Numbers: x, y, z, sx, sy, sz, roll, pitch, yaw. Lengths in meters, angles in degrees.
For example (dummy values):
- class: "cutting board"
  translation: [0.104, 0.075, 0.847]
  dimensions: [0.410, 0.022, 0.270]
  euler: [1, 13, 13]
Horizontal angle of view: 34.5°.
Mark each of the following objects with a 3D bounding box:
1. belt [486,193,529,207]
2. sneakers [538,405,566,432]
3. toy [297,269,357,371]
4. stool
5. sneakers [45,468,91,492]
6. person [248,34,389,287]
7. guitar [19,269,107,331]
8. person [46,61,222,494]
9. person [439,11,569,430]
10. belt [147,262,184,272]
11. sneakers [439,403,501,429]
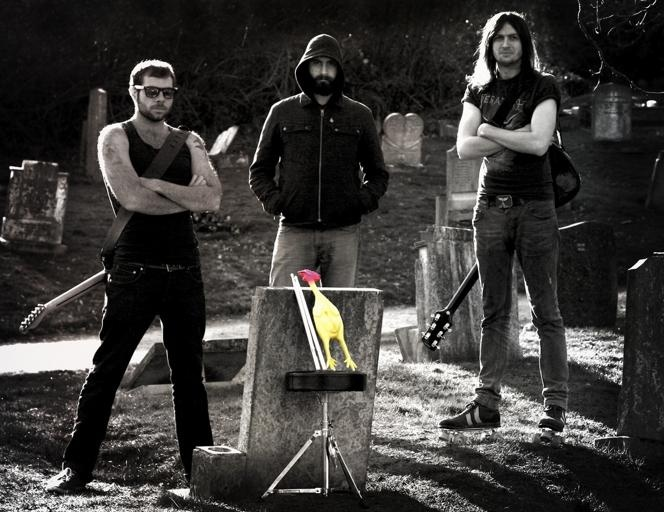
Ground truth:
- class: "belt"
  translation: [1.404, -0.424, 8.547]
  dimensions: [0.315, 0.114, 0.046]
  euler: [4, 6, 22]
- class: "sneakers"
  translation: [1.739, 1.296, 8.430]
  dimensions: [0.203, 0.226, 0.121]
  euler: [3, 6, 5]
- class: "toy"
  translation: [-0.037, 0.494, 8.092]
  dimensions: [0.296, 0.910, 0.276]
  euler: [-18, -9, -10]
- class: "stool"
  translation: [-0.408, 1.314, 8.196]
  dimensions: [1.001, 1.086, 0.931]
  euler: [1, 4, -8]
- class: "sneakers"
  translation: [-2.001, 1.728, 8.139]
  dimensions: [0.340, 0.132, 0.150]
  euler: [6, 0, -13]
- class: "person"
  translation: [-0.100, -0.796, 8.919]
  dimensions: [1.150, 2.124, 0.568]
  euler: [2, 6, -2]
- class: "guitar"
  translation: [-3.099, 0.543, 12.176]
  dimensions: [1.284, 0.158, 0.221]
  euler: [-34, 34, -30]
- class: "person"
  translation: [-1.435, 0.141, 8.264]
  dimensions: [1.096, 3.302, 0.636]
  euler: [2, 6, -7]
- class: "person"
  translation: [1.457, -0.271, 8.581]
  dimensions: [0.950, 3.358, 0.682]
  euler: [3, 6, 5]
- class: "belt"
  translation: [-1.270, 0.102, 8.207]
  dimensions: [0.287, 0.065, 0.021]
  euler: [1, 6, -12]
- class: "sneakers"
  translation: [1.128, 1.319, 8.640]
  dimensions: [0.549, 0.226, 0.194]
  euler: [0, -6, 0]
